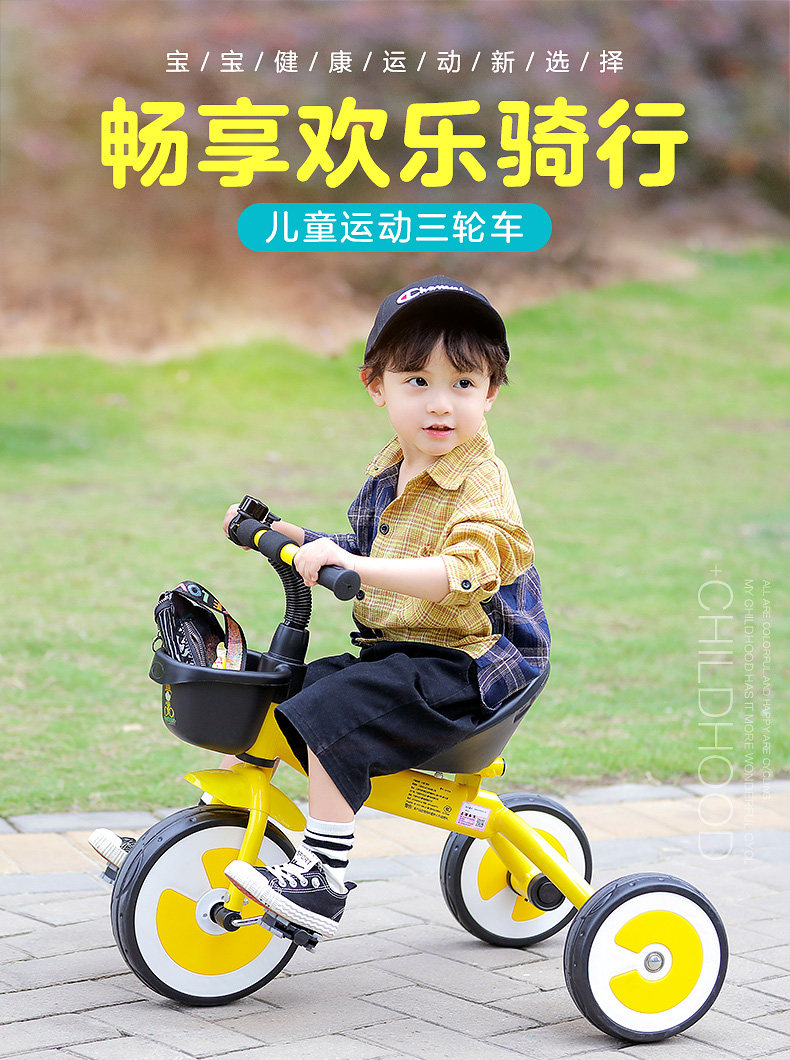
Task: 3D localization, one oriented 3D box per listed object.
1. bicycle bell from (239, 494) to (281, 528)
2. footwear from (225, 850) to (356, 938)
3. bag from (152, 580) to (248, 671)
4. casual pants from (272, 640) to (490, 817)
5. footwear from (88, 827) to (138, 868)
[{"bbox_3d":[-0.239,-0.031,2.021,0.075,0.025,0.047,21,32,-33],"label":"bicycle bell"},{"bbox_3d":[-0.167,0.582,1.798,0.222,0.116,0.096,34,-27,-27],"label":"footwear"},{"bbox_3d":[-0.335,0.170,1.920,0.158,0.156,0.234,3,3,-7],"label":"bag"},{"bbox_3d":[-0.022,0.323,1.837,0.393,0.199,0.281,1,0,-10],"label":"casual pants"},{"bbox_3d":[-0.519,0.582,2.033,0.064,0.046,0.133,-21,12,-8],"label":"footwear"}]
